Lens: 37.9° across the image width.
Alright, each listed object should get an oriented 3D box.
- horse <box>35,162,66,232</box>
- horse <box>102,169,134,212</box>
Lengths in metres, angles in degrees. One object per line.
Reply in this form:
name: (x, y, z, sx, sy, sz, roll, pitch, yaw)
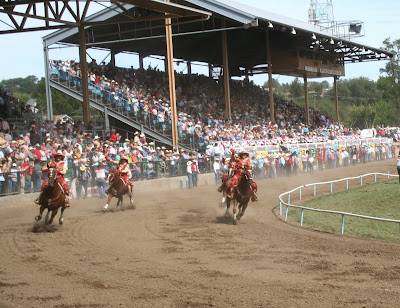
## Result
horse: (-5.831, 1.775, 23.418, 0.837, 2.195, 3.331, 9, -10, -2)
horse: (-3.759, 1.658, 26.248, 0.941, 1.963, 1.710, 6, 13, 28)
